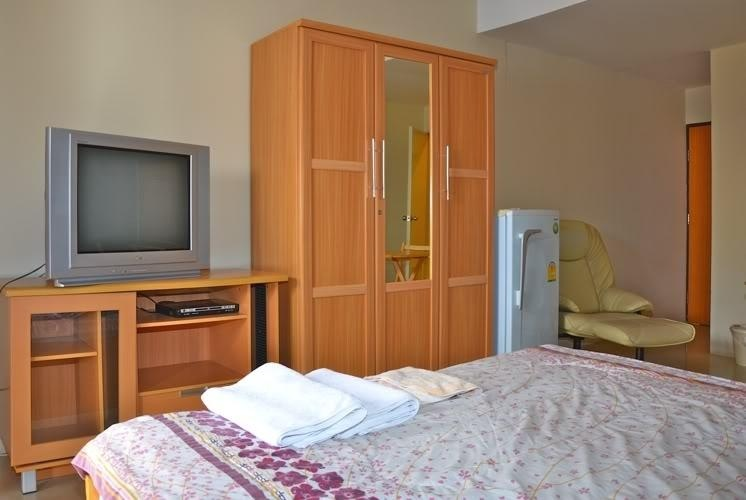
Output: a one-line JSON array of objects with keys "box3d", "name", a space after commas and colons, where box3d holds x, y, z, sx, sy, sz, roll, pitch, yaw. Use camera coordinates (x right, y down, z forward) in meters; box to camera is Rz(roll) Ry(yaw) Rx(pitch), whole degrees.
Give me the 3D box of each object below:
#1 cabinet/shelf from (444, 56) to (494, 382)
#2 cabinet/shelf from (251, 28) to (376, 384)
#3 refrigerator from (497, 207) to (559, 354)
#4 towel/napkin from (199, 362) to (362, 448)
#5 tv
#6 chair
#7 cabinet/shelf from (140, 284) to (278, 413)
[{"box3d": [0.819, -0.198, 4.082, 0.284, 2.555, 0.523, -17, 24, -32], "name": "cabinet/shelf"}, {"box3d": [-0.206, -0.332, 3.633, 0.625, 2.402, 0.554, -4, -9, 13], "name": "cabinet/shelf"}, {"box3d": [1.305, 0.249, 4.268, 0.580, 1.169, 0.438, -1, 14, -5], "name": "refrigerator"}, {"box3d": [-0.348, 0.516, 1.889, 0.291, 0.084, 0.376, -9, 15, -44], "name": "towel/napkin"}, {"box3d": [-1.387, -0.265, 2.981, 0.944, 0.880, 0.265, -11, 18, -40], "name": "tv"}, {"box3d": [2.215, 0.287, 4.744, 1.098, 1.311, 1.492, 0, 0, -27], "name": "chair"}, {"box3d": [-1.153, 0.636, 3.214, 0.504, 0.825, 0.975, 1, -1, 42], "name": "cabinet/shelf"}]
